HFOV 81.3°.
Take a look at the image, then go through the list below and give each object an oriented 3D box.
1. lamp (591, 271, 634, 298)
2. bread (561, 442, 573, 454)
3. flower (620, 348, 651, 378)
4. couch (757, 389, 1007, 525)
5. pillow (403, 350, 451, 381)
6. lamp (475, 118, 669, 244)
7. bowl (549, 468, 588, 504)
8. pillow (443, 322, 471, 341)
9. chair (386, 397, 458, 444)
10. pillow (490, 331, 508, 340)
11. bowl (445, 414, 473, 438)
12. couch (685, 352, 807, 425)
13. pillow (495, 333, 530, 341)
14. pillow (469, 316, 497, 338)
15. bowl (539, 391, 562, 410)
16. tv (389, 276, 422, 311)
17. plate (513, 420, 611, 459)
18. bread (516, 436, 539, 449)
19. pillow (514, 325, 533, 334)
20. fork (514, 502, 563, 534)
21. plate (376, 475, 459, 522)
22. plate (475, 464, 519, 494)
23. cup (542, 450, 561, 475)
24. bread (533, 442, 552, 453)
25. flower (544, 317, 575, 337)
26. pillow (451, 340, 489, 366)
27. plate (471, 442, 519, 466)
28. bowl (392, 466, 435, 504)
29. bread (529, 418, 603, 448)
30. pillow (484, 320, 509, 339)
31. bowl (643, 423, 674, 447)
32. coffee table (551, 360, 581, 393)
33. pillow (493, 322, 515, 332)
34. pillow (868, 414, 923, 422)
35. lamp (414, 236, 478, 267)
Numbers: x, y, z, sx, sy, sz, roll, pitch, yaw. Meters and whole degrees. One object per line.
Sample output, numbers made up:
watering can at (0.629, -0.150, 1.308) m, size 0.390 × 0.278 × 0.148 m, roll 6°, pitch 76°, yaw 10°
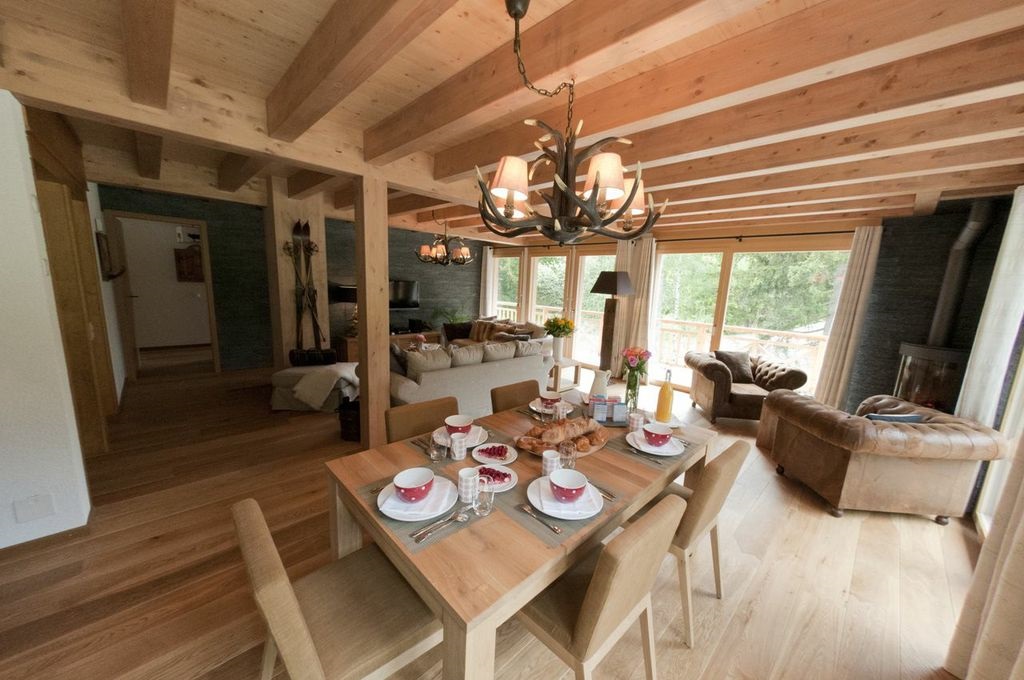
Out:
lamp at (1.136, -0.672, 6.590) m, size 0.337 × 0.390 × 0.346 m, roll 12°, pitch 23°, yaw 31°
bread at (0.370, 0.726, 3.992) m, size 0.070 × 0.046 × 0.064 m, roll -1°, pitch 15°, yaw -4°
flower at (0.967, 0.165, 4.644) m, size 0.188 × 0.232 × 0.247 m, roll 3°, pitch 8°, yaw 14°
couch at (3.299, 1.046, 5.623) m, size 1.271 × 0.825 × 1.795 m, roll 6°, pitch 6°, yaw -2°
pillow at (-0.820, 0.186, 5.737) m, size 0.343 × 0.302 × 0.128 m, roll -6°, pitch 16°, yaw -30°
lamp at (0.417, -1.055, 4.145) m, size 1.351 × 0.660 × 1.405 m, roll 7°, pitch 1°, yaw 30°
bowl at (0.357, 0.917, 3.761) m, size 0.214 × 0.117 × 0.207 m, roll -1°, pitch 9°, yaw 0°
pillow at (-0.870, -0.178, 9.477) m, size 0.352 × 0.150 × 0.344 m, roll 17°, pitch 29°, yaw 34°
chair at (-0.697, 0.542, 4.571) m, size 0.384 × 0.596 × 0.370 m, roll -5°, pitch 11°, yaw -35°
pillow at (-0.136, -0.085, 8.294) m, size 0.163 × 0.057 × 0.163 m, roll -9°, pitch 14°, yaw -30°
bowl at (-0.375, 0.602, 4.212) m, size 0.153 × 0.069 × 0.146 m, roll -1°, pitch 7°, yaw 0°
couch at (2.643, 0.500, 6.914) m, size 1.229 × 0.716 × 1.099 m, roll 7°, pitch 8°, yaw 16°
pillow at (-0.008, -0.074, 8.329) m, size 0.442 × 0.083 × 0.360 m, roll -4°, pitch 8°, yaw -36°
pillow at (-0.395, -0.203, 9.273) m, size 0.369 × 0.336 × 0.114 m, roll 0°, pitch -21°, yaw 46°
bowl at (0.325, 0.477, 4.728) m, size 0.134 × 0.069 × 0.120 m, roll -4°, pitch 20°, yaw -7°
tv at (-1.754, -0.807, 9.658) m, size 0.918 × 0.575 × 0.119 m, roll -3°, pitch 6°, yaw -44°
plate at (0.358, 0.679, 4.200) m, size 0.434 × 0.117 × 0.314 m, roll -6°, pitch 11°, yaw -30°
bread at (0.105, 0.708, 4.144) m, size 0.091 × 0.032 × 0.088 m, roll -1°, pitch 4°, yaw -43°
pillow at (0.171, -0.178, 8.587) m, size 0.169 × 0.048 × 0.176 m, roll 8°, pitch 15°, yaw 41°
fork at (0.136, 1.094, 3.709) m, size 0.402 × 0.057 × 0.100 m, roll 21°, pitch 40°, yaw 40°
plate at (-0.644, 1.020, 3.700) m, size 0.405 × 0.038 × 0.364 m, roll -2°, pitch 32°, yaw -19°
plate at (-0.092, 0.891, 3.831) m, size 0.204 × 0.025 × 0.184 m, roll 6°, pitch 22°, yaw 2°
cup at (0.258, 0.800, 3.908) m, size 0.154 × 0.147 × 0.137 m, roll -5°, pitch 16°, yaw -17°
bread at (0.205, 0.735, 4.105) m, size 0.110 × 0.043 × 0.081 m, roll -1°, pitch 4°, yaw -39°
flower at (0.630, -0.218, 7.899) m, size 0.319 × 0.196 × 0.297 m, roll -4°, pitch 14°, yaw -12°
pillow at (-0.445, 0.138, 6.029) m, size 0.380 × 0.149 × 0.379 m, roll 6°, pitch 12°, yaw 39°
plate at (-0.117, 0.774, 4.035) m, size 0.188 × 0.046 × 0.180 m, roll 2°, pitch 16°, yaw 11°
bowl at (-0.615, 0.907, 3.745) m, size 0.226 × 0.121 × 0.207 m, roll -4°, pitch 12°, yaw 1°
bread at (0.376, 0.634, 4.248) m, size 0.638 × 0.197 × 0.186 m, roll -1°, pitch 8°, yaw -21°
pillow at (-0.236, -0.203, 9.021) m, size 0.328 × 0.297 × 0.104 m, roll 4°, pitch -17°, yaw 39°
bowl at (1.057, 0.672, 4.270) m, size 0.176 × 0.094 × 0.161 m, roll -2°, pitch 13°, yaw 0°
coffee table at (0.682, 0.430, 7.826) m, size 0.435 × 0.365 × 0.419 m, roll -13°, pitch 21°, yaw -35°
pillow at (-0.121, -0.233, 8.927) m, size 0.218 × 0.067 × 0.211 m, roll -5°, pitch 6°, yaw -37°
pillow at (3.288, 0.661, 5.079) m, size 0.185 × 0.047 × 0.174 m, roll -3°, pitch 1°, yaw 15°
lamp at (-1.068, -1.441, 9.216) m, size 0.773 × 0.405 × 0.807 m, roll 18°, pitch 23°, yaw 40°
